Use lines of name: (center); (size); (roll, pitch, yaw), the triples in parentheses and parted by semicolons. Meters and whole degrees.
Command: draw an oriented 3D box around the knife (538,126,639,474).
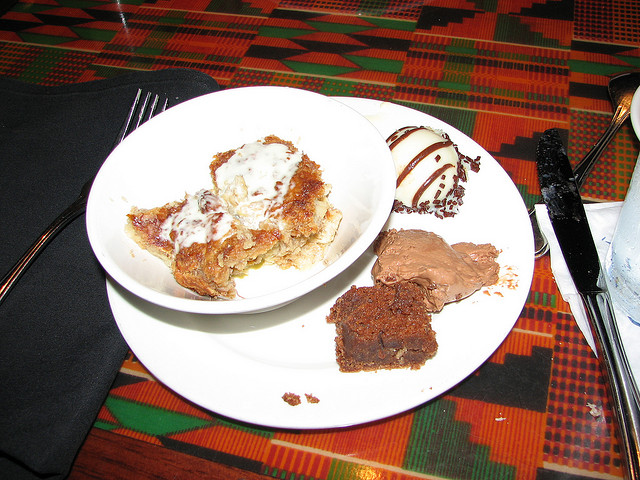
knife: (0.924, 0.122, 1.894); (0.120, 0.052, 1.028); (-13, 83, 26)

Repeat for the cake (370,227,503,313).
cake: (0.420, 0.101, 1.888); (0.324, 0.088, 0.307); (-3, 37, -9)

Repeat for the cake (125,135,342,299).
cake: (-0.321, -0.102, 2.102); (0.736, 0.240, 0.772); (-23, 44, -20)

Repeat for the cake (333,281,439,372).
cake: (0.217, 0.279, 1.815); (0.331, 0.129, 0.286); (-3, 75, -5)
